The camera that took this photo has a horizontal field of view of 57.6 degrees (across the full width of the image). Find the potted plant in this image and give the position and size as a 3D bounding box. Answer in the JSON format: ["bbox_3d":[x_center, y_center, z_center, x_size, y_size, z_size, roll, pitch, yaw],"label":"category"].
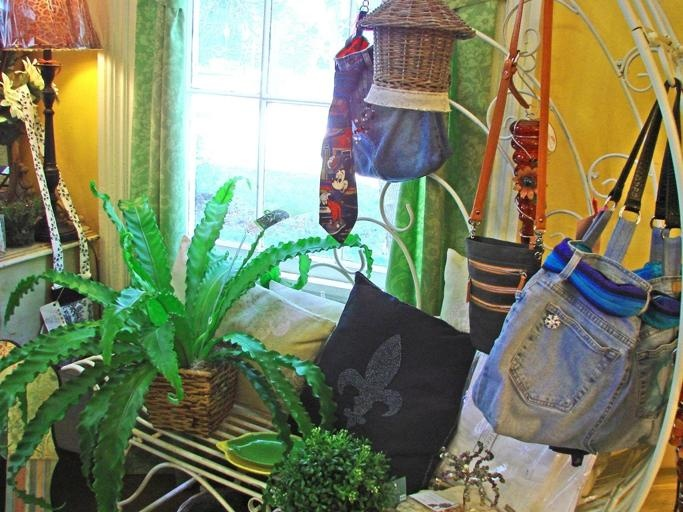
[{"bbox_3d":[-0.611,0.208,2.182,1.155,0.498,1.152,4,33,-8],"label":"potted plant"}]

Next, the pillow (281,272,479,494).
[{"bbox_3d":[0.161,0.410,1.977,0.544,0.548,0.164,35,9,33],"label":"pillow"}]

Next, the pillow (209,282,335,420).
[{"bbox_3d":[-0.247,0.369,2.379,0.451,0.454,0.138,26,-3,20],"label":"pillow"}]

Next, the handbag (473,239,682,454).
[{"bbox_3d":[0.529,0.194,1.369,0.384,0.362,0.222,23,12,5],"label":"handbag"}]

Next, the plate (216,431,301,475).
[{"bbox_3d":[-0.293,0.619,1.992,0.195,0.034,0.166,13,24,21],"label":"plate"}]

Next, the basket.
[{"bbox_3d":[-0.523,0.462,2.126,0.255,0.198,0.261,3,12,19],"label":"basket"}]

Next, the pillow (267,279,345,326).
[{"bbox_3d":[-0.136,0.177,2.424,0.178,0.054,0.182,23,-3,11],"label":"pillow"}]

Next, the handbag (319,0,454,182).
[{"bbox_3d":[0.146,-0.451,1.987,0.402,0.499,0.152,15,18,33],"label":"handbag"}]
